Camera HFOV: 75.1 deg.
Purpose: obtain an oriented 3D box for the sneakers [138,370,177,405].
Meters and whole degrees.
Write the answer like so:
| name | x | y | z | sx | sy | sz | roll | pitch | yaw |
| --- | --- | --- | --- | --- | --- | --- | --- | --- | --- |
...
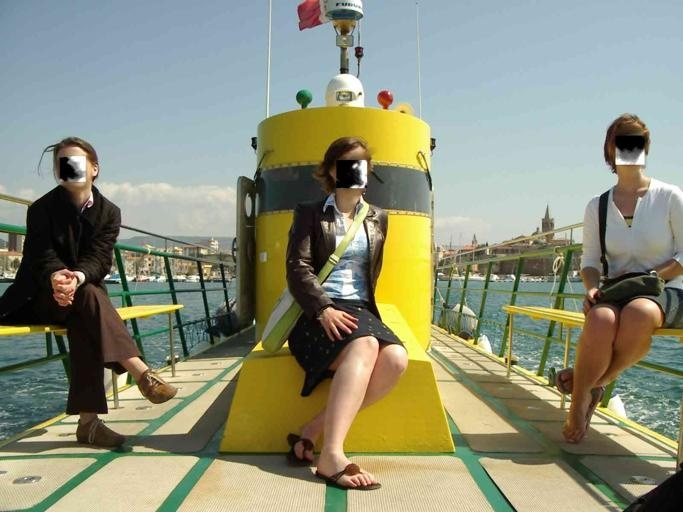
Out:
| name | x | y | z | sx | sy | sz | roll | pitch | yaw |
| --- | --- | --- | --- | --- | --- | --- | --- | --- | --- |
| sneakers | -1.114 | 0.771 | 2.659 | 0.129 | 0.128 | 0.325 | -43 | 27 | -20 |

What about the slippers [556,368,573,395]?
| name | x | y | z | sx | sy | sz | roll | pitch | yaw |
| --- | --- | --- | --- | --- | --- | --- | --- | --- | --- |
| slippers | 1.440 | 0.794 | 2.870 | 0.151 | 0.151 | 0.058 | -2 | 3 | -41 |

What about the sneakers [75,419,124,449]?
| name | x | y | z | sx | sy | sz | roll | pitch | yaw |
| --- | --- | --- | --- | --- | --- | --- | --- | --- | --- |
| sneakers | -1.427 | 1.053 | 2.675 | 0.319 | 0.156 | 0.131 | 5 | -1 | 8 |

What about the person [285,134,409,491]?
| name | x | y | z | sx | sy | sz | roll | pitch | yaw |
| --- | --- | --- | --- | --- | --- | --- | --- | --- | --- |
| person | 0.012 | 0.196 | 2.467 | 0.635 | 1.856 | 0.714 | 1 | -1 | -7 |

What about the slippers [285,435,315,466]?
| name | x | y | z | sx | sy | sz | roll | pitch | yaw |
| --- | --- | --- | --- | --- | --- | --- | --- | --- | --- |
| slippers | -0.229 | 1.048 | 2.419 | 0.138 | 0.128 | 0.155 | 1 | -1 | -8 |

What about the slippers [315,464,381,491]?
| name | x | y | z | sx | sy | sz | roll | pitch | yaw |
| --- | --- | --- | --- | --- | --- | --- | --- | --- | --- |
| slippers | 0.041 | 1.043 | 2.142 | 0.267 | 0.086 | 0.113 | -11 | -13 | 36 |

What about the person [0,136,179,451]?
| name | x | y | z | sx | sy | sz | roll | pitch | yaw |
| --- | --- | --- | --- | --- | --- | --- | --- | --- | --- |
| person | -1.563 | 0.189 | 2.666 | 0.885 | 1.854 | 0.470 | 1 | -1 | -24 |

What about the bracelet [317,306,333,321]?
| name | x | y | z | sx | sy | sz | roll | pitch | yaw |
| --- | --- | --- | --- | --- | --- | --- | --- | --- | --- |
| bracelet | -0.097 | 0.308 | 2.448 | 0.065 | 0.072 | 0.069 | -32 | -30 | 20 |

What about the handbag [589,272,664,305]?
| name | x | y | z | sx | sy | sz | roll | pitch | yaw |
| --- | --- | --- | --- | --- | --- | --- | --- | --- | --- |
| handbag | 1.645 | 0.221 | 2.530 | 0.257 | 0.099 | 0.206 | -14 | -2 | 19 |
